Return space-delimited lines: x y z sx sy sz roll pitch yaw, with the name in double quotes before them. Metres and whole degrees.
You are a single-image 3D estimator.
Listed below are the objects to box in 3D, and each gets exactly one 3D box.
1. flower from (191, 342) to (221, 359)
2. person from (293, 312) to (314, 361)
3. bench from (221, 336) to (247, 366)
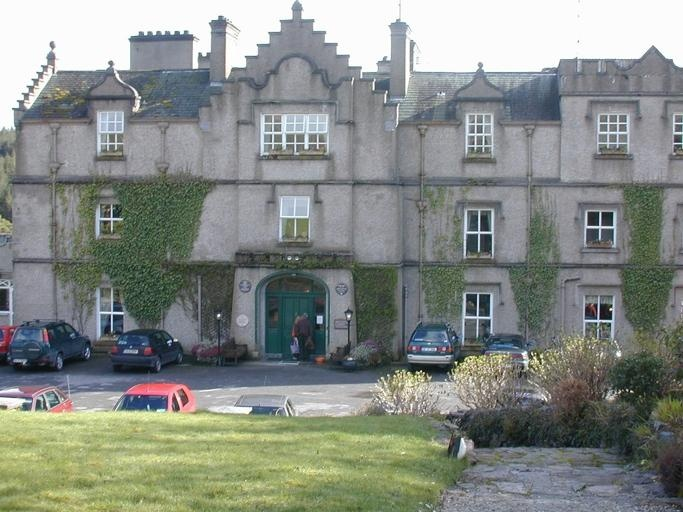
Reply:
"flower" -5.983 4.185 71.050 0.920 0.847 2.039 -1 11 -14
"person" -1.673 3.589 71.312 0.865 1.955 0.562 -1 11 -12
"bench" -4.674 4.571 70.941 0.811 1.498 2.141 0 0 7
